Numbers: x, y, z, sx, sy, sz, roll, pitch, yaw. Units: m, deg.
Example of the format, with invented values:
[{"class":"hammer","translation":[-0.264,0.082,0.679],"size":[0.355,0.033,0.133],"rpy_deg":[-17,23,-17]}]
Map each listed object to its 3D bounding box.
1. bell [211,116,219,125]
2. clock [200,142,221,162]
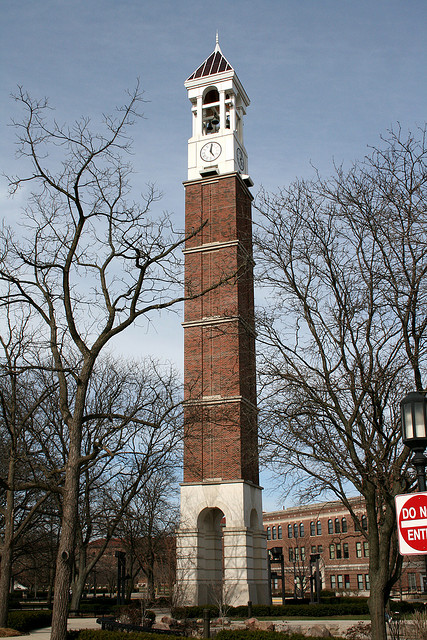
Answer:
[{"class":"bell","translation":[0.098,-11.361,48.693],"size":[0.339,0.500,0.281],"rpy_deg":[1,-23,-7]},{"class":"clock","translation":[-0.115,-9.048,45.978],"size":[1.271,1.209,0.066],"rpy_deg":[2,-18,10]}]
